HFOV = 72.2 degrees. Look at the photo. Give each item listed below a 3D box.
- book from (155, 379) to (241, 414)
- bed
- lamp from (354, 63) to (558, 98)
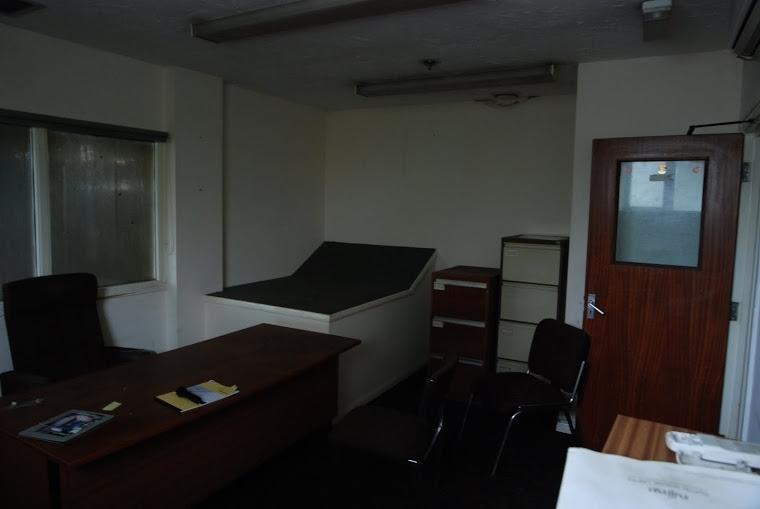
[{"bbox_3d":[-1.157,0.907,3.339,0.201,0.046,0.272,9,9,36],"label":"book"},{"bbox_3d":[-0.429,0.625,5.428,1.706,1.167,1.802,3,4,34],"label":"bed"},{"bbox_3d":[0.734,-1.631,4.947,1.840,0.188,0.383,5,7,22],"label":"lamp"}]
